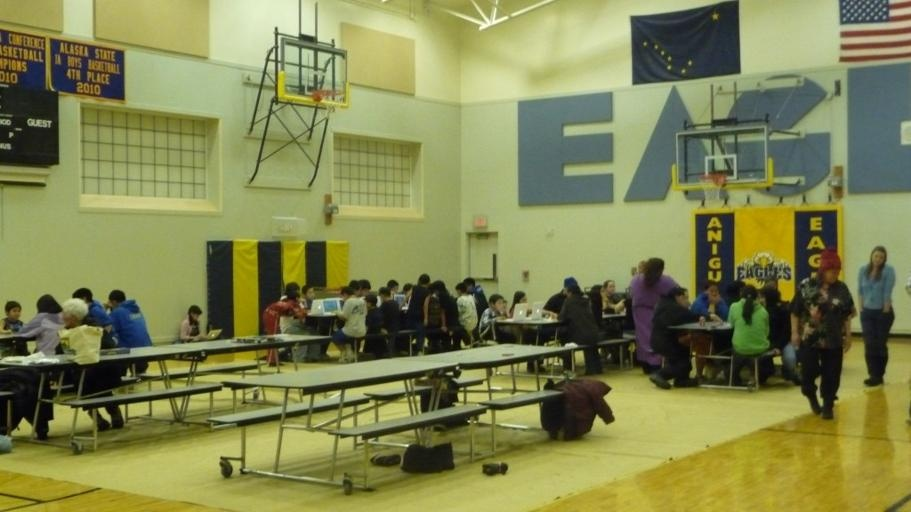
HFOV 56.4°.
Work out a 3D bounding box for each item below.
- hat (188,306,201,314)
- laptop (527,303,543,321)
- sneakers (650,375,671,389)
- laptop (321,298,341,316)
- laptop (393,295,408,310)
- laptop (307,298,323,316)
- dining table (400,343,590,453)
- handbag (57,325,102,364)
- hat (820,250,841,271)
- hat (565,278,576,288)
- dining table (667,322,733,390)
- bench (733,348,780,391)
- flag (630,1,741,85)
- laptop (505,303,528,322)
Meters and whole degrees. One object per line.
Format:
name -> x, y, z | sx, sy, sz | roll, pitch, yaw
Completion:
hat -> -6.568, 1.342, 21.297 | 0.246, 0.167, 0.327 | 4, -13, -40
laptop -> 1.933, 1.363, 20.578 | 0.345, 0.307, 0.492 | 4, 1, 43
sneakers -> 4.469, 2.740, 18.445 | 0.527, 0.192, 0.227 | 14, 5, 7
laptop -> -3.141, 1.283, 21.842 | 0.340, 0.396, 0.630 | -6, -7, 35
laptop -> -1.474, 1.240, 22.989 | 0.357, 0.388, 0.451 | -11, -10, 27
laptop -> -3.548, 1.318, 21.672 | 0.424, 0.320, 0.425 | 10, 1, 6
dining table -> 0.771, 2.881, 16.243 | 2.141, 1.136, 2.589 | -4, -2, 41
handbag -> -6.798, 1.616, 15.526 | 0.755, 0.620, 0.715 | 2, -14, -39
hat -> 7.081, 0.069, 16.050 | 0.352, 0.411, 0.365 | -3, -3, 21
hat -> 2.817, 0.659, 20.635 | 0.303, 0.244, 0.205 | -6, 6, -15
dining table -> 5.353, 1.764, 18.574 | 1.291, 1.071, 2.375 | 0, -3, 23
bench -> 6.457, 2.380, 18.330 | 0.845, 0.908, 1.254 | 1, 2, 8
flag -> 6.951, -6.314, 25.055 | 3.025, 1.893, 0.099 | -2, -2, 26
laptop -> 1.487, 1.357, 20.133 | 0.378, 0.342, 0.559 | 11, 4, 40
